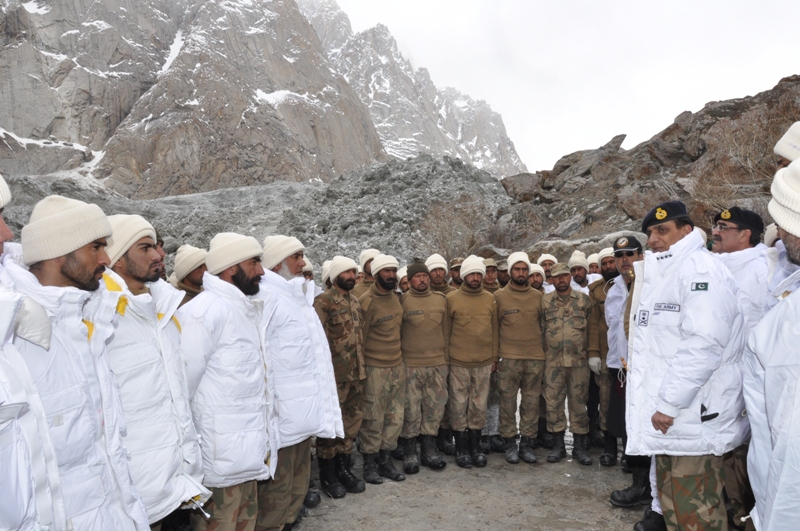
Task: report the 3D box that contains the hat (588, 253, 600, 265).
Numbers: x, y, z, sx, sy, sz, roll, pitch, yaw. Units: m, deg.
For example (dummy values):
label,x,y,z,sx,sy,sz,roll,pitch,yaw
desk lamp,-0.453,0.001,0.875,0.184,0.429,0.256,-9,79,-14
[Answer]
label,x,y,z,sx,sy,sz,roll,pitch,yaw
hat,2.984,-0.104,10.859,0.201,0.227,0.264,1,-37,14

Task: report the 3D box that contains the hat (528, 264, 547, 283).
label,x,y,z,sx,sy,sz,roll,pitch,yaw
hat,1.988,0.115,10.168,0.237,0.233,0.309,3,-8,10

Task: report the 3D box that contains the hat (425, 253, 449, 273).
label,x,y,z,sx,sy,sz,roll,pitch,yaw
hat,0.475,-0.032,9.311,0.225,0.216,0.283,1,7,-6

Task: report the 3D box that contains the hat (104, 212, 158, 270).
label,x,y,z,sx,sy,sz,roll,pitch,yaw
hat,-2.144,-0.217,5.683,0.435,0.376,0.328,0,3,7

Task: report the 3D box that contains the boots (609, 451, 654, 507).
label,x,y,z,sx,sy,sz,roll,pitch,yaw
boots,2.428,2.263,7.368,0.518,0.483,0.237,-7,12,-3

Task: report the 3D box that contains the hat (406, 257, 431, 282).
label,x,y,z,sx,sy,sz,roll,pitch,yaw
hat,0.240,0.046,8.667,0.236,0.252,0.315,3,-21,-25

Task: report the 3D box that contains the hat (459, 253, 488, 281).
label,x,y,z,sx,sy,sz,roll,pitch,yaw
hat,0.898,0.021,8.617,0.247,0.248,0.320,2,-10,-3

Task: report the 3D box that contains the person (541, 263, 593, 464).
label,x,y,z,sx,sy,sz,roll,pitch,yaw
person,2.024,1.175,8.585,0.589,2.219,0.916,2,12,12

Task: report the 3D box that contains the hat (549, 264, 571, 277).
label,x,y,z,sx,sy,sz,roll,pitch,yaw
hat,2.077,0.068,9.077,0.206,0.096,0.301,-9,-3,14

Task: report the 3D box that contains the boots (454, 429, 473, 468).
label,x,y,z,sx,sy,sz,roll,pitch,yaw
boots,0.743,2.174,8.453,0.166,0.338,0.491,-7,19,-2

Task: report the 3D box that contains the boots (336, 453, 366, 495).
label,x,y,z,sx,sy,sz,roll,pitch,yaw
boots,-0.559,2.286,7.770,0.202,0.368,0.544,3,-1,-39

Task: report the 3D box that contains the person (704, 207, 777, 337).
label,x,y,z,sx,sy,sz,roll,pitch,yaw
person,2.893,0.091,5.993,0.476,1.301,0.858,2,-16,17

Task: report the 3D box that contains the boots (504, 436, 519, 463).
label,x,y,z,sx,sy,sz,roll,pitch,yaw
boots,1.359,2.218,8.487,0.163,0.229,0.319,1,11,5

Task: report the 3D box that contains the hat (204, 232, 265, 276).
label,x,y,z,sx,sy,sz,roll,pitch,yaw
hat,-1.486,-0.104,6.296,0.418,0.298,0.392,-1,6,0

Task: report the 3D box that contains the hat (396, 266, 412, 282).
label,x,y,z,sx,sy,sz,roll,pitch,yaw
hat,0.058,0.137,10.449,0.158,0.210,0.165,2,26,-9

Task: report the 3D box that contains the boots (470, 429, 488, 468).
label,x,y,z,sx,sy,sz,roll,pitch,yaw
boots,0.929,2.175,8.445,0.167,0.408,0.440,-2,4,-11

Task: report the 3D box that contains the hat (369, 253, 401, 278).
label,x,y,z,sx,sy,sz,roll,pitch,yaw
hat,-0.208,-0.011,8.210,0.248,0.191,0.272,1,-4,-22

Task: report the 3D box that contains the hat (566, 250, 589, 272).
label,x,y,z,sx,sy,sz,roll,pitch,yaw
hat,2.544,-0.062,10.163,0.308,0.324,0.411,1,3,20

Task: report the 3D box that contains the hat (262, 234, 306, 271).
label,x,y,z,sx,sy,sz,roll,pitch,yaw
hat,-1.171,-0.122,7.087,0.368,0.288,0.351,1,3,14

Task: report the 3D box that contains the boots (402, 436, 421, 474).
label,x,y,z,sx,sy,sz,roll,pitch,yaw
boots,0.119,2.202,8.292,0.159,0.381,0.480,-6,4,0

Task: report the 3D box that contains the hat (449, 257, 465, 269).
label,x,y,z,sx,sy,sz,roll,pitch,yaw
hat,0.833,-0.032,10.380,0.178,0.098,0.246,1,-5,-6

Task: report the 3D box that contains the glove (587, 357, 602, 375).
label,x,y,z,sx,sy,sz,roll,pitch,yaw
glove,2.365,1.227,8.547,0.146,0.245,0.159,2,12,8

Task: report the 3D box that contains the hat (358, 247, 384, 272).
label,x,y,z,sx,sy,sz,roll,pitch,yaw
hat,-0.385,-0.079,9.268,0.345,0.293,0.316,-1,6,30

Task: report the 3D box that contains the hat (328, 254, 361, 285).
label,x,y,z,sx,sy,sz,roll,pitch,yaw
hat,-0.624,0.026,7.789,0.311,0.274,0.281,1,-1,37

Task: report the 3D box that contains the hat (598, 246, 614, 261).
label,x,y,z,sx,sy,sz,roll,pitch,yaw
hat,2.685,-0.169,9.175,0.203,0.178,0.236,-6,-10,14

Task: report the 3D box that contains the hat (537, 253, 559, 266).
label,x,y,z,sx,sy,sz,roll,pitch,yaw
hat,2.361,-0.096,11.294,0.277,0.207,0.313,-1,-5,5

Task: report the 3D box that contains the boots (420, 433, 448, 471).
label,x,y,z,sx,sy,sz,roll,pitch,yaw
boots,0.403,2.202,8.372,0.189,0.367,0.499,-4,3,-25

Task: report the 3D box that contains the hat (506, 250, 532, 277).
label,x,y,z,sx,sy,sz,roll,pitch,yaw
hat,1.528,-0.015,8.845,0.294,0.329,0.359,0,1,-1
